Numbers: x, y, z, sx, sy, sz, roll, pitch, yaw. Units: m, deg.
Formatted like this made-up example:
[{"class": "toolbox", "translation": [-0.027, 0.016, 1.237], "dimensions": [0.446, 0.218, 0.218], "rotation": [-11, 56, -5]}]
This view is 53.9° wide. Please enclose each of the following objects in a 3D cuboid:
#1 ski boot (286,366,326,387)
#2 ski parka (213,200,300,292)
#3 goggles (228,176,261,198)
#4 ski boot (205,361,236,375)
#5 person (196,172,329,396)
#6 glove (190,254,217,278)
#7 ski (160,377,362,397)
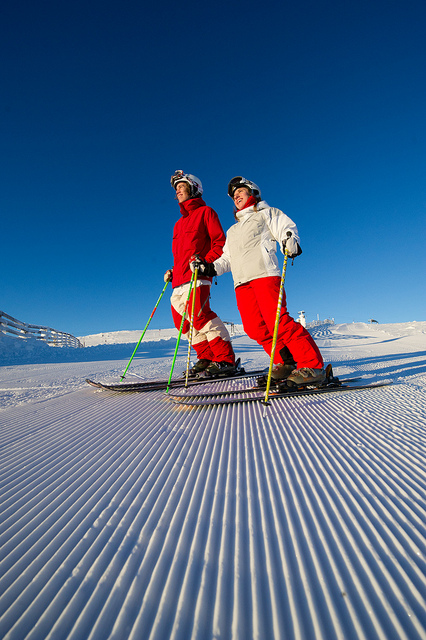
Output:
[{"class": "ski boot", "translation": [0.530, 0.313, 2.296], "dimensions": [0.163, 0.110, 0.081], "rotation": [0, -36, 1]}, {"class": "ski parka", "translation": [0.268, -0.520, 3.003], "dimensions": [0.735, 0.672, 0.301], "rotation": [-17, -17, 33]}, {"class": "goggles", "translation": [0.202, -0.999, 3.116], "dimensions": [0.239, 0.118, 0.084], "rotation": [1, 6, 35]}, {"class": "ski boot", "translation": [0.056, 0.376, 3.262], "dimensions": [0.254, 0.124, 0.090], "rotation": [6, -6, -12]}, {"class": "person", "translation": [0.290, -0.299, 2.851], "dimensions": [0.813, 1.552, 0.660], "rotation": [-2, -19, -3]}, {"class": "glove", "translation": [-0.071, -0.379, 3.159], "dimensions": [0.221, 0.186, 0.099], "rotation": [9, -22, -29]}, {"class": "ski", "translation": [0.295, 0.397, 2.427], "dimensions": [0.885, 0.054, 0.101], "rotation": [-4, -2, -3]}]
